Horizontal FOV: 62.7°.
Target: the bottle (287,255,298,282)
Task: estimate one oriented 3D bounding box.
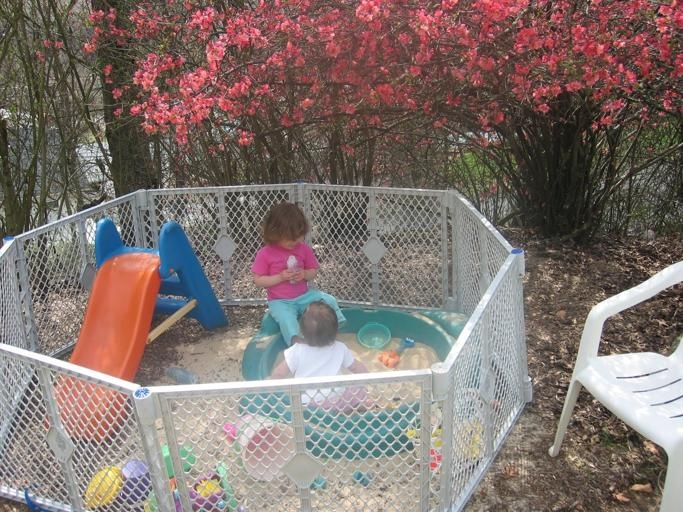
[{"bbox_3d":[-0.395,0.101,4.516,0.085,0.212,0.135,-5,17,-7],"label":"bottle"}]

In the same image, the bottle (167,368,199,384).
[{"bbox_3d":[-1.233,0.916,4.292,0.188,0.064,0.123,10,31,3],"label":"bottle"}]

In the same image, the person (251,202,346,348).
[{"bbox_3d":[-0.367,0.138,4.457,0.626,1.111,0.832,-5,14,-10],"label":"person"}]
